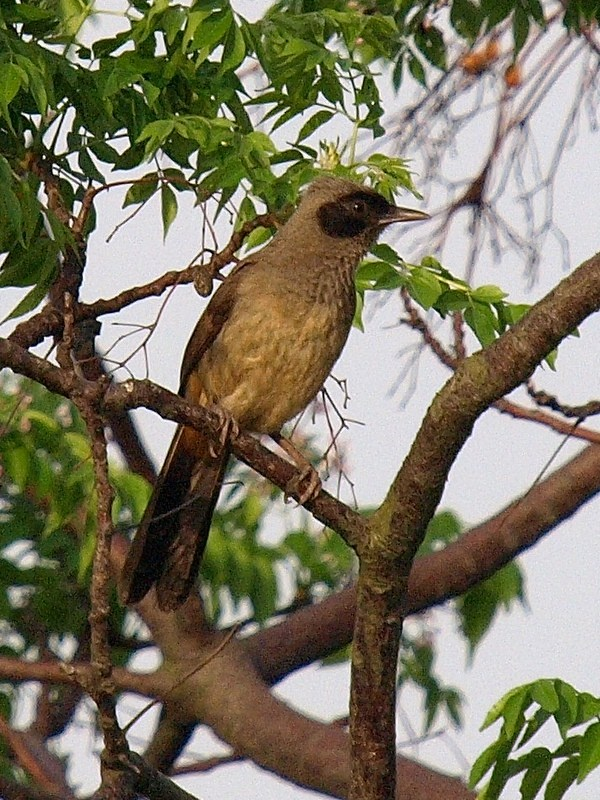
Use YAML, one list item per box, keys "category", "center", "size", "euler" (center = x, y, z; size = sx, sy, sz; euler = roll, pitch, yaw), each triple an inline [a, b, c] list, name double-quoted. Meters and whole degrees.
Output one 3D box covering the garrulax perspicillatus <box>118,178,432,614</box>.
- category: "garrulax perspicillatus"
  center: [-0.102, -0.127, 4.312]
  size: [0.727, 0.530, 1.467]
  euler: [5, -85, -29]
